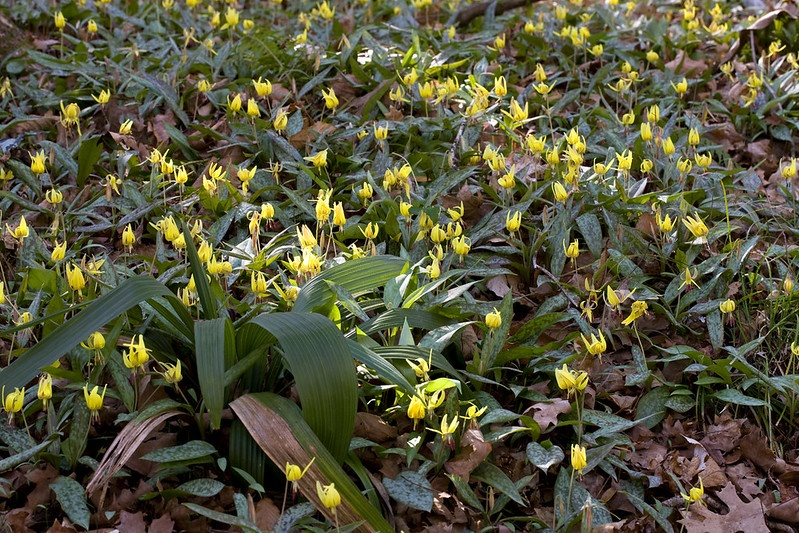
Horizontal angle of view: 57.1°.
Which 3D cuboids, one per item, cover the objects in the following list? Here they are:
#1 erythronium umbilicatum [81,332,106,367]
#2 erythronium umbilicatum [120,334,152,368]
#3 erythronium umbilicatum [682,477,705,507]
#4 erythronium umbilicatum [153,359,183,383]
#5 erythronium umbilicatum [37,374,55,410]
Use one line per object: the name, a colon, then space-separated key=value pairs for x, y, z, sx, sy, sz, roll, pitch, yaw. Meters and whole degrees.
erythronium umbilicatum: x=-1.515 y=0.405 z=3.637 sx=0.106 sy=0.179 sz=0.105 roll=1 pitch=3 yaw=-1
erythronium umbilicatum: x=-1.307 y=0.440 z=3.564 sx=0.111 sy=0.085 sz=0.141 roll=-27 pitch=89 yaw=-28
erythronium umbilicatum: x=1.467 y=1.138 z=3.679 sx=0.067 sy=0.144 sz=0.152 roll=29 pitch=11 yaw=12
erythronium umbilicatum: x=-1.165 y=0.530 z=3.711 sx=0.112 sy=0.064 sz=0.105 roll=-14 pitch=38 yaw=-34
erythronium umbilicatum: x=-1.728 y=0.609 z=3.583 sx=0.053 sy=0.051 sz=0.187 roll=-2 pitch=70 yaw=-12
